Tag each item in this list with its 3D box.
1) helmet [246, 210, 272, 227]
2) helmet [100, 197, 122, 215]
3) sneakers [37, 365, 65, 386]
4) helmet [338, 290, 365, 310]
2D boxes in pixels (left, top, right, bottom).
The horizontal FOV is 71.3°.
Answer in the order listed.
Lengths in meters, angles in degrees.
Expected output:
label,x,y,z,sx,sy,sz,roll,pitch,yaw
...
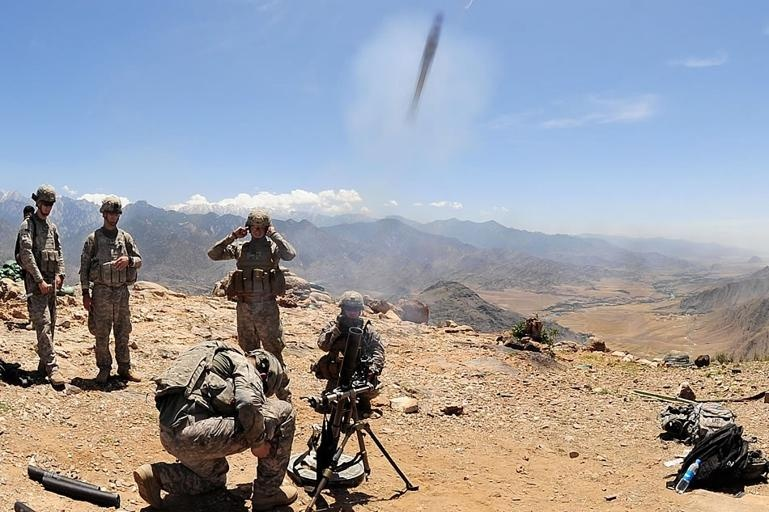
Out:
label,x,y,z,sx,sy,sz,roll,pitch,yaw
helmet,-2.554,-0.752,10.731,0.392,0.316,0.545,6,4,11
helmet,-5.250,-0.965,10.318,0.366,0.317,0.264,3,5,-25
sneakers,-6.234,2.238,10.000,0.548,0.212,0.179,21,24,23
helmet,-0.602,0.800,9.665,0.409,0.345,0.348,5,4,-5
